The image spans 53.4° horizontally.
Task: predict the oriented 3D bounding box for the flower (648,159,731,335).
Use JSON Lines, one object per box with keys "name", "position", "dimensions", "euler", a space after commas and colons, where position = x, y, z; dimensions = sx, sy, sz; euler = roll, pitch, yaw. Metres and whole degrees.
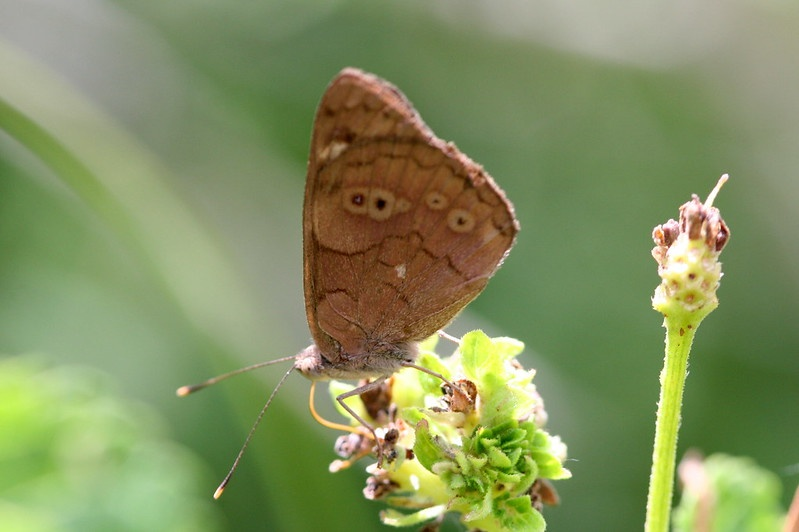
{"name": "flower", "position": [1.076, -0.040, 2.938], "dimensions": [0.307, 0.566, 0.291], "euler": [-7, -12, 19]}
